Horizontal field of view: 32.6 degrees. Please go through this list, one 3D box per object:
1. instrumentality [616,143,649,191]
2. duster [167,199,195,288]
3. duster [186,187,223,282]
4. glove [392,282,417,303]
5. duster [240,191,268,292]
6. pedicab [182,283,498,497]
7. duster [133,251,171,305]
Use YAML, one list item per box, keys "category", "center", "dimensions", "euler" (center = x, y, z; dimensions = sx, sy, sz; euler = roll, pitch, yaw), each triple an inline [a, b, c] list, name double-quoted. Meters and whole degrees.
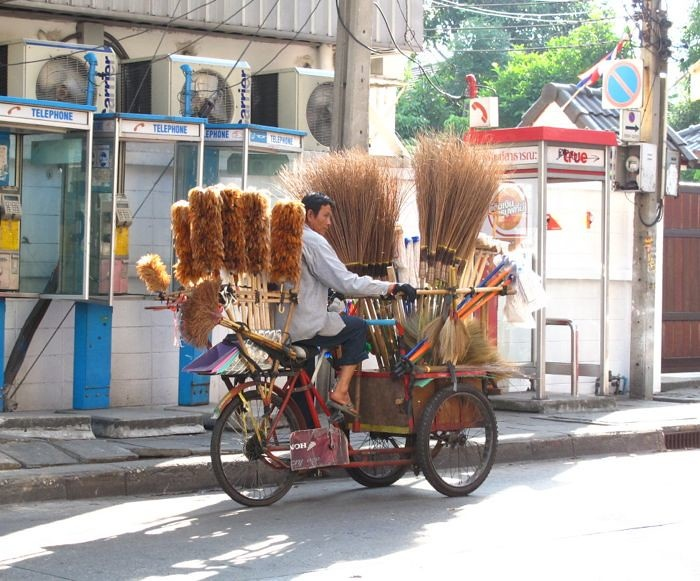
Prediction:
- category: "instrumentality"
  center: [3.020, -1.343, 13.002]
  dimensions: [0.329, 0.513, 0.111]
  euler: [-6, -6, 13]
- category: "duster"
  center: [-1.095, -0.311, 8.067]
  dimensions: [0.173, 0.542, 0.194]
  euler: [-12, 15, -41]
- category: "duster"
  center: [-0.962, -0.369, 7.919]
  dimensions: [0.226, 0.560, 0.236]
  euler: [10, 15, 37]
- category: "glove"
  center: [0.381, 0.017, 8.312]
  dimensions: [0.166, 0.116, 0.320]
  euler: [-5, -6, 3]
- category: "duster"
  center: [-0.630, -0.380, 8.029]
  dimensions: [0.166, 0.555, 0.173]
  euler: [-6, 12, -31]
- category: "pedicab"
  center: [-0.612, 1.081, 8.098]
  dimensions: [0.797, 0.847, 0.285]
  euler: [4, -3, 37]
- category: "duster"
  center: [-1.311, -0.102, 8.039]
  dimensions: [0.252, 0.450, 0.248]
  euler: [-6, 8, -8]
